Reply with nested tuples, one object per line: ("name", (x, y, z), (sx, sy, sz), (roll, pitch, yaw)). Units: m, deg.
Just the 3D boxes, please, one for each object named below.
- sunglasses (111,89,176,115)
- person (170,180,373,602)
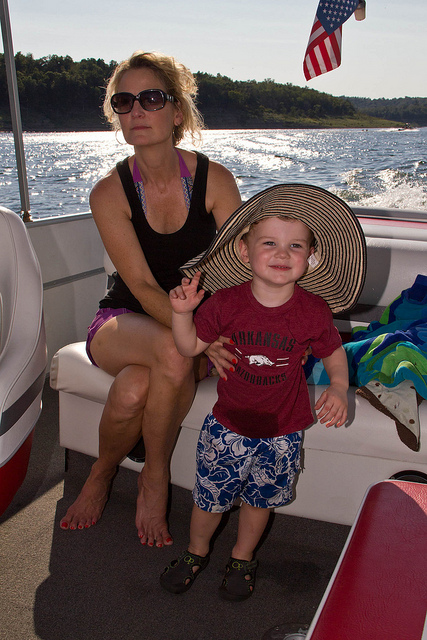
("sunglasses", (-0.216, -0.629, 1.377), (0.194, 0.075, 0.112), (4, 13, 1))
("person", (0.108, 0.198, 1.074), (0.377, 0.983, 0.269), (7, 13, 16))
